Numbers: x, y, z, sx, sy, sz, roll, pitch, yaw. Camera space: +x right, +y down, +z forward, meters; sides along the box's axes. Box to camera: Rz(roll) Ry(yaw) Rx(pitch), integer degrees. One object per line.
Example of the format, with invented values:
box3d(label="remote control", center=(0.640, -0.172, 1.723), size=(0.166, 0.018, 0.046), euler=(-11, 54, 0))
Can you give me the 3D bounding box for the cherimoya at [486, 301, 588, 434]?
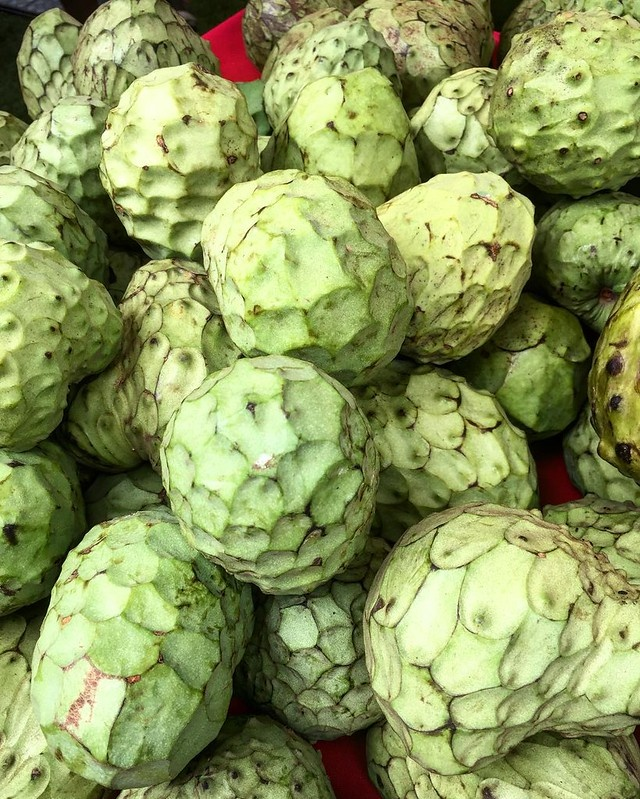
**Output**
box3d(label="cherimoya", center=(0.328, -0.066, 1.617), size=(0.243, 0.247, 0.216), euler=(-5, 5, 0))
